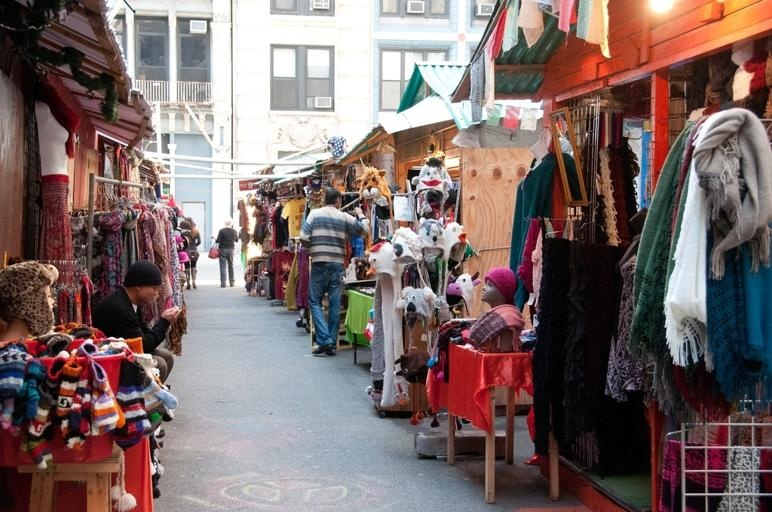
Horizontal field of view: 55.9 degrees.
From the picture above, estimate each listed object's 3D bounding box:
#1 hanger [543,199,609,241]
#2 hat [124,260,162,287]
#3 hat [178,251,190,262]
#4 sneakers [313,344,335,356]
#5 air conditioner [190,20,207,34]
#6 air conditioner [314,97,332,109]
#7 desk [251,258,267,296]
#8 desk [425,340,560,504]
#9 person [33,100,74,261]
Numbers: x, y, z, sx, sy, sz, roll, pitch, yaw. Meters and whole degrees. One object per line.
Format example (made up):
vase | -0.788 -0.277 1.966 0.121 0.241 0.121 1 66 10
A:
hanger | 1.629 -0.313 6.157 0.343 0.411 0.022 4 9 41
hat | -2.071 0.143 6.108 0.226 0.170 0.236 -2 -1 10
hat | -4.941 -0.015 17.430 0.419 0.290 0.297 -2 -1 40
sneakers | -0.962 1.406 11.061 0.347 0.171 0.150 3 0 1
air conditioner | -8.053 -9.809 30.789 0.820 0.628 0.493 0 -4 -12
air conditioner | -2.308 -5.557 26.054 0.677 0.430 0.131 1 4 -7
desk | -3.395 0.523 19.208 0.435 1.003 1.858 0 4 -11
desk | 0.832 1.092 6.199 0.981 1.112 1.506 0 1 -18
person | -3.169 -0.732 6.875 0.304 1.515 0.722 -1 4 -27
